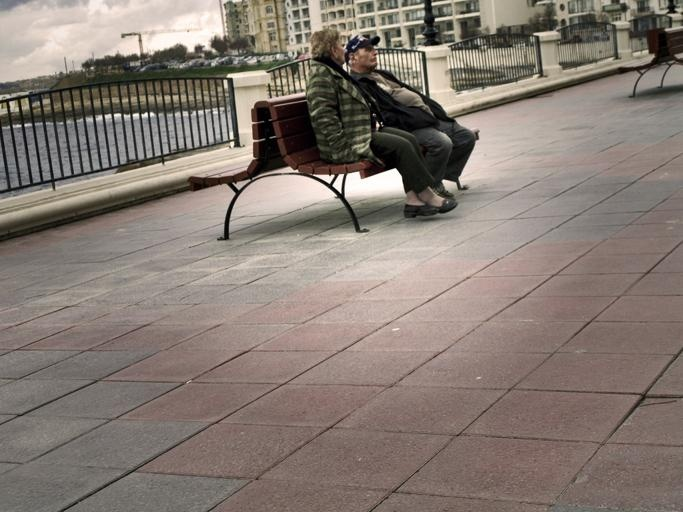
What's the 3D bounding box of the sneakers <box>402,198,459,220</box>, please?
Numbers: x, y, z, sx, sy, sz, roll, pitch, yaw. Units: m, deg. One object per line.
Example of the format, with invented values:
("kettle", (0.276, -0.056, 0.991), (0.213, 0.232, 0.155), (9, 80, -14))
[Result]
("sneakers", (0.852, -0.458, 6.417), (0.599, 0.152, 0.180), (-5, 10, 16))
